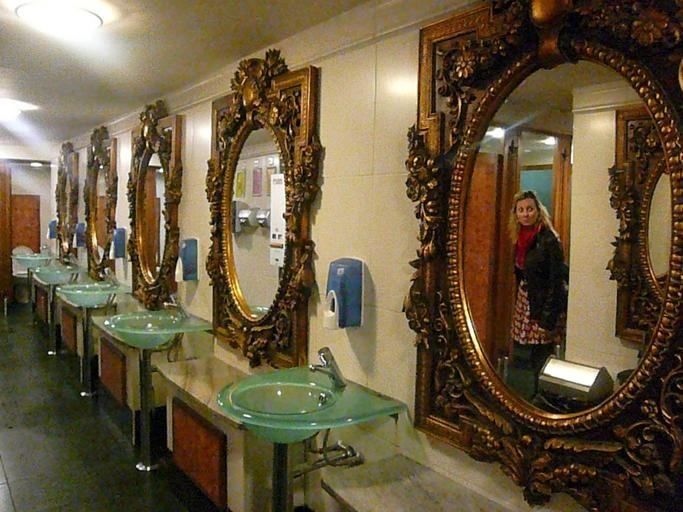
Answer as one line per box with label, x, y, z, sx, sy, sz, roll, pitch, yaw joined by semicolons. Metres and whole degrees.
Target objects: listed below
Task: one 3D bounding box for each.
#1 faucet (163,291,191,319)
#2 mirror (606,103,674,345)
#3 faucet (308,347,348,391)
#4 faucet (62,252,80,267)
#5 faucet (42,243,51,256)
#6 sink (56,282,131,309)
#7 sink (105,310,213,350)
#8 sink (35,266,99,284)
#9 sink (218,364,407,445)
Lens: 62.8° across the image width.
faucet;-1.273;0.387;4.352;0.069;0.191;0.408;-1;18;-40
mirror;1.030;-0.107;1.955;0.201;0.822;0.089;5;6;25
faucet;-0.048;0.542;2.744;0.210;0.227;0.070;-6;14;-27
faucet;-3.536;0.041;7.319;0.251;0.116;0.340;0;11;-32
faucet;-4.676;-0.092;8.864;0.175;0.180;0.174;5;-8;-45
sink;-2.214;0.344;5.036;0.396;0.179;0.429;0;3;-38
sink;-1.295;0.547;3.976;0.695;0.210;0.872;-2;5;-35
sink;-3.238;0.228;6.461;0.376;0.162;0.397;2;-2;44
sink;-0.183;0.728;2.616;0.768;0.212;0.667;-3;8;-37
